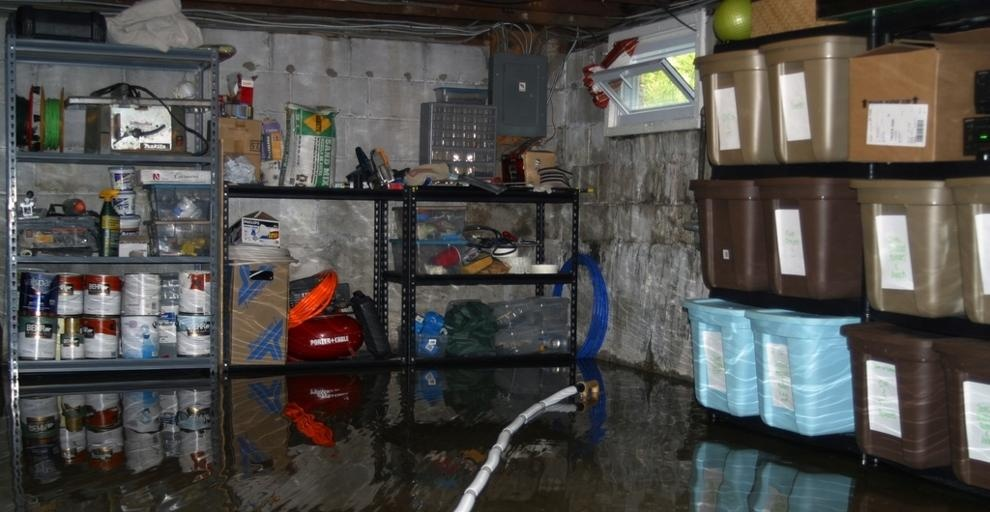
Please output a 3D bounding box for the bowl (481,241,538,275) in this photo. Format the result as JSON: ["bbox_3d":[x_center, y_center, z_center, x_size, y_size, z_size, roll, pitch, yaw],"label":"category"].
[{"bbox_3d":[0.057,0.027,7.789,0.584,0.267,0.537,5,9,-1],"label":"bowl"}]

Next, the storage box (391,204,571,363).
[{"bbox_3d":[-0.171,0.312,7.639,1.978,1.456,0.662,-1,5,-13],"label":"storage box"}]

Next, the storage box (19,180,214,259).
[{"bbox_3d":[-3.365,-0.301,6.912,1.580,0.670,0.475,-3,5,-17],"label":"storage box"}]

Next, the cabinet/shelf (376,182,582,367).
[{"bbox_3d":[-0.189,0.217,7.591,2.251,1.660,0.900,-1,4,-21],"label":"cabinet/shelf"}]

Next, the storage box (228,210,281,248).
[{"bbox_3d":[-2.240,-0.235,7.176,0.438,0.267,0.383,1,0,-34],"label":"storage box"}]
